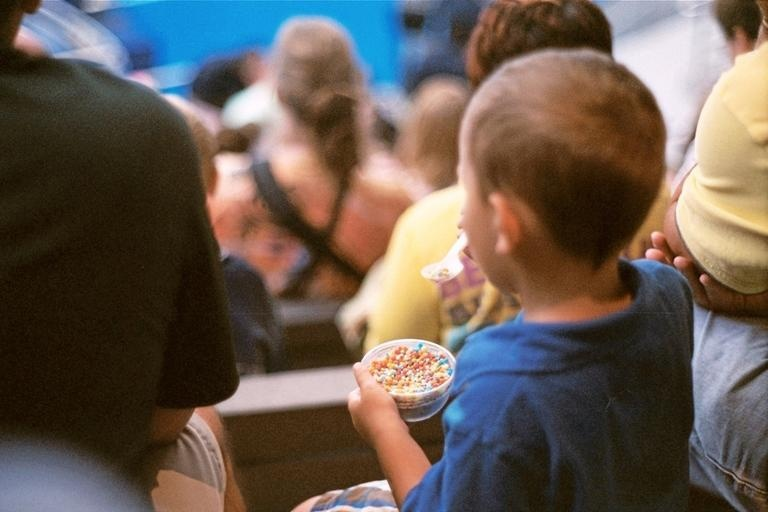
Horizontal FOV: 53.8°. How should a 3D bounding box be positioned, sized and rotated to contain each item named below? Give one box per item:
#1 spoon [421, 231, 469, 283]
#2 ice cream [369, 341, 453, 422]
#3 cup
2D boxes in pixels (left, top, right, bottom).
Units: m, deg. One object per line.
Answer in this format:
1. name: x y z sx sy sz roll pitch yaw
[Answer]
1. spoon: 0.138 0.012 1.618 0.122 0.069 0.046 -27 35 -23
2. ice cream: 0.063 0.260 1.655 0.177 0.186 0.212 -10 19 -22
3. cup: 0.069 0.261 1.654 0.187 0.196 0.227 -13 20 -32
